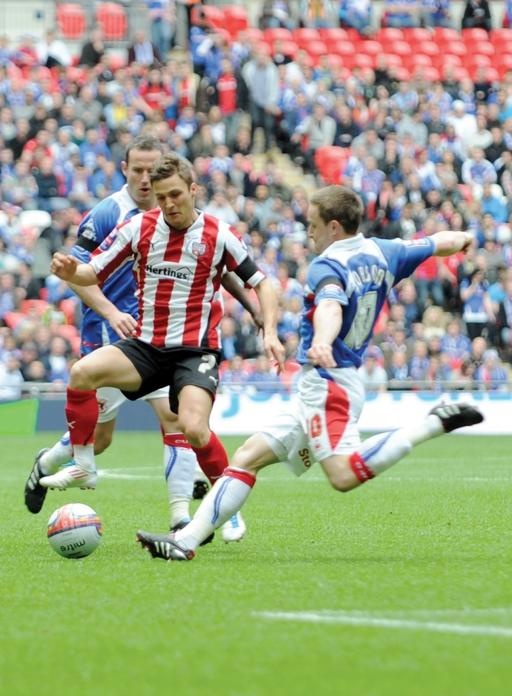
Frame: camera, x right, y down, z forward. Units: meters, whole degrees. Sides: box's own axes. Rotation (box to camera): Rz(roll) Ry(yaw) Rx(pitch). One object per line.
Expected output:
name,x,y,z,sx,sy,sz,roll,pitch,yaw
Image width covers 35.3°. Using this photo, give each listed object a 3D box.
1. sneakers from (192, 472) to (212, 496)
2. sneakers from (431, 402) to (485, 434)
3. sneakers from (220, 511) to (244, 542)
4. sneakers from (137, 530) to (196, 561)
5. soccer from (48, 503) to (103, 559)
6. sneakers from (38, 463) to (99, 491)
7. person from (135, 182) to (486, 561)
sneakers,-0.360,0.971,5.763,0.155,0.151,0.175,-8,33,1
sneakers,0.807,0.274,3.230,0.201,0.076,0.105,-10,51,-7
sneakers,-0.101,0.843,3.805,0.094,0.084,0.214,7,27,13
sneakers,-0.372,0.823,3.383,0.217,0.086,0.110,22,-15,-7
soccer,-0.784,0.790,3.461,0.217,0.193,0.207,3,15,-13
sneakers,-0.934,0.665,4.102,0.362,0.152,0.117,1,-4,-7
person,0.203,0.075,3.606,1.186,1.588,0.987,7,15,-1
